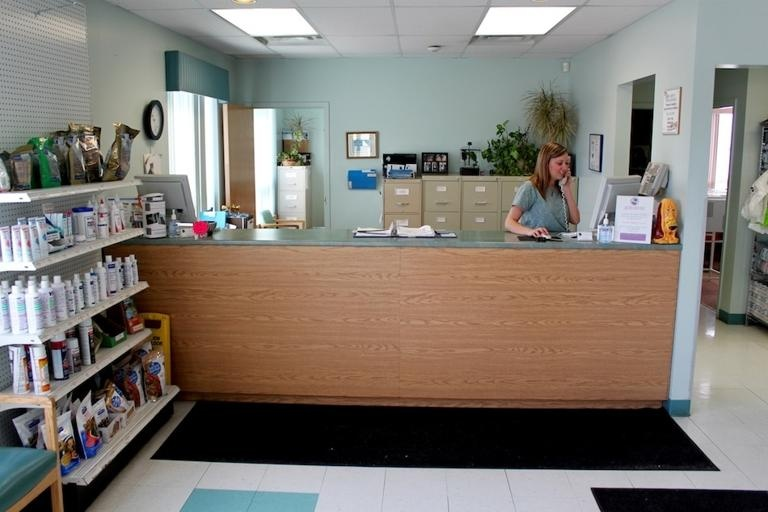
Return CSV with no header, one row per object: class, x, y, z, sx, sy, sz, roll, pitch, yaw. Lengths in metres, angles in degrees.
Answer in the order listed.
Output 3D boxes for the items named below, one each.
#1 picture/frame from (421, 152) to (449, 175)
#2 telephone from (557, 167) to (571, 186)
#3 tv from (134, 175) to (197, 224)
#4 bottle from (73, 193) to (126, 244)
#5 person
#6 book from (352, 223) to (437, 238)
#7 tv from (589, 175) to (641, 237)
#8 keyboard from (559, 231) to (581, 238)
picture/frame,0.704,-1.294,7.382,0.398,0.291,0.040,0,10,1
telephone,1.579,-0.711,4.708,0.142,0.209,0.194,1,14,16
tv,-1.830,-0.463,4.389,0.415,0.364,0.214,5,17,10
bottle,-1.998,-0.253,3.696,0.150,0.327,0.394,-2,6,8
person,1.345,-0.565,4.548,0.474,0.783,0.716,5,16,30
book,0.084,-0.222,4.423,0.705,0.100,0.403,-3,13,-3
tv,1.929,-0.439,4.460,0.245,0.467,0.485,9,18,42
keyboard,1.538,-0.170,4.424,0.144,0.023,0.238,2,14,18
